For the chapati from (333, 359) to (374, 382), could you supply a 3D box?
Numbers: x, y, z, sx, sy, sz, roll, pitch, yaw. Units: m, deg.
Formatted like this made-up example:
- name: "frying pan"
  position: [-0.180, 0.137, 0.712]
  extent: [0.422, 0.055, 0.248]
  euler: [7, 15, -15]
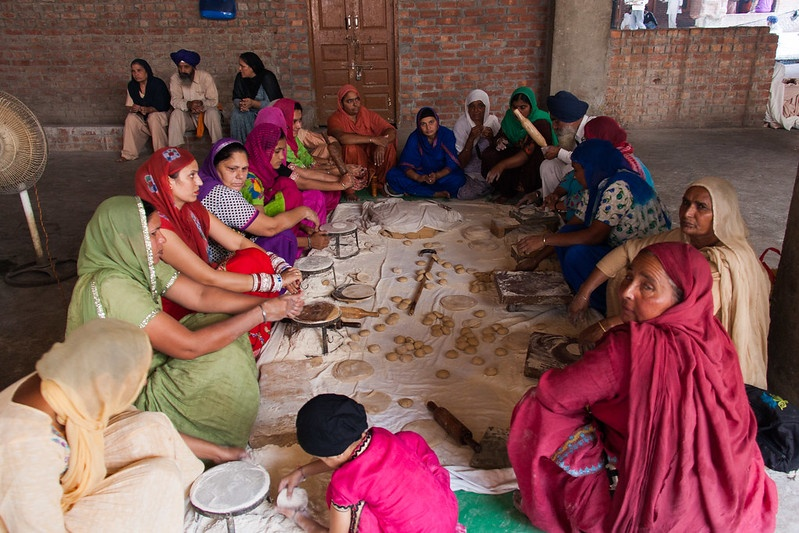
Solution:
- name: "chapati"
  position: [-0.301, 0.676, 3.380]
  extent: [0.176, 0.028, 0.130]
  euler: [1, 27, 1]

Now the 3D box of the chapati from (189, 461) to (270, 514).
- name: "chapati"
  position: [-0.756, 0.997, 2.326]
  extent: [0.277, 0.183, 0.245]
  euler: [-3, 20, -7]

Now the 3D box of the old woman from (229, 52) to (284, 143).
- name: "old woman"
  position: [-2.227, -2.644, 8.025]
  extent: [0.972, 1.560, 0.654]
  euler: [4, 30, 1]

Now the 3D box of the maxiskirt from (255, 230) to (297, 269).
- name: "maxiskirt"
  position: [-0.993, -0.172, 4.370]
  extent: [0.346, 0.153, 0.319]
  euler: [-2, 32, -23]
